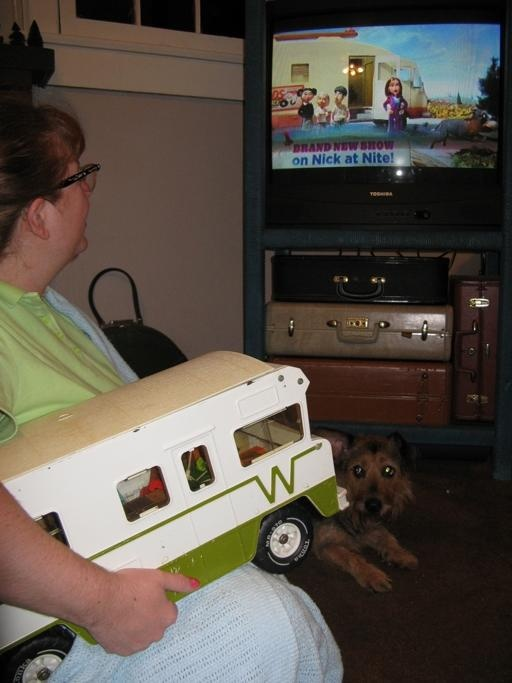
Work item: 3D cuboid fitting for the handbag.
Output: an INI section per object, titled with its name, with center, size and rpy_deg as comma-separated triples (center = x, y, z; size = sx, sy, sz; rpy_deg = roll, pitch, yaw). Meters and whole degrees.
[handbag]
center = -0.390, -0.091, 1.797
size = 0.245, 0.363, 0.282
rpy_deg = -13, -4, 26

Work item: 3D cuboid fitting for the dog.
[dog]
center = 0.241, 0.446, 1.712
size = 0.283, 0.352, 0.735
rpy_deg = 2, -2, -17
